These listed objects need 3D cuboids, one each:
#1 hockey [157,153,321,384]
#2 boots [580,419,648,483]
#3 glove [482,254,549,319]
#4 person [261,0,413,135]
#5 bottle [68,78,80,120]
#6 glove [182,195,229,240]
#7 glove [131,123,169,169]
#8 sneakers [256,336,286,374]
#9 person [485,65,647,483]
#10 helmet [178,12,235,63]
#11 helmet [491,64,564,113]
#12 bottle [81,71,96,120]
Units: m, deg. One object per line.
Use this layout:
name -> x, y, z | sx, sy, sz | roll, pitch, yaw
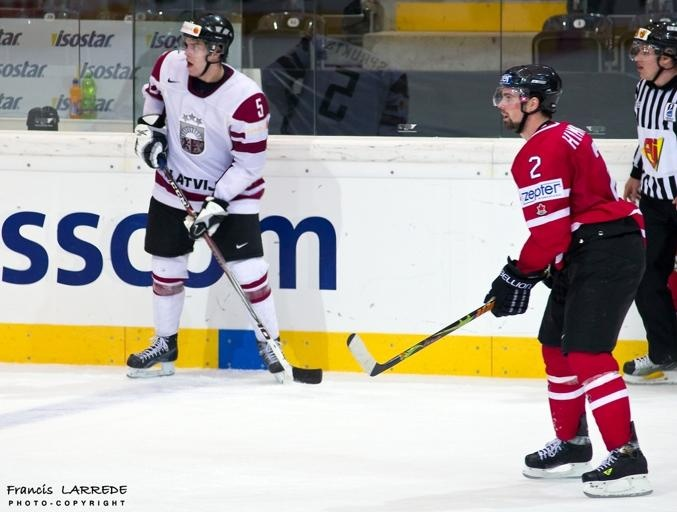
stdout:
hockey -> -0.493, 0.026, 5.578 | 0.134, 1.238, 0.255 | -34, -4, 34
boots -> 1.047, 0.765, 4.123 | 0.283, 0.220, 0.095 | -6, 2, -11
glove -> 0.695, 0.150, 4.324 | 0.205, 0.240, 0.096 | 21, 26, -28
person -> -0.037, -0.953, 5.708 | 0.807, 0.704, 0.258 | 4, 6, 7
bottle -> -1.431, -0.848, 5.851 | 0.062, 0.208, 0.063 | 0, 13, 0
glove -> -0.641, -0.180, 5.373 | 0.092, 0.207, 0.207 | 32, 23, -46
glove -> -0.948, -0.555, 5.470 | 0.164, 0.223, 0.145 | -2, 13, -10
sneakers -> -0.350, 0.517, 5.483 | 0.093, 0.207, 0.088 | -27, -11, -20
person -> 0.896, 0.208, 4.205 | 0.629, 1.402, 0.487 | 1, 13, 6
helmet -> -0.634, -1.061, 5.311 | 0.275, 0.192, 0.199 | 2, 20, -28
helmet -> 0.788, -0.690, 4.418 | 0.234, 0.161, 0.182 | 3, 10, 13
bottle -> -1.357, -0.867, 5.852 | 0.087, 0.242, 0.081 | 0, 13, 0
